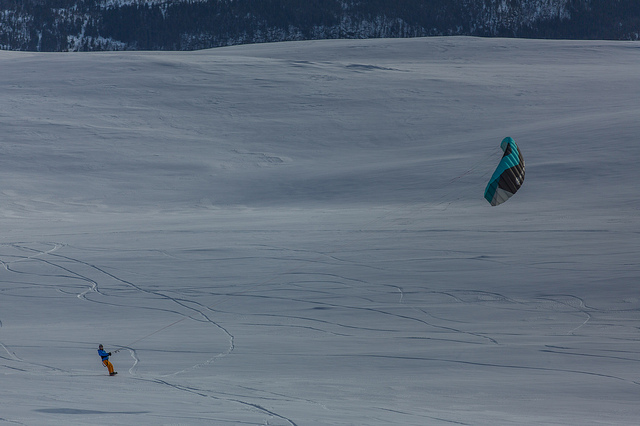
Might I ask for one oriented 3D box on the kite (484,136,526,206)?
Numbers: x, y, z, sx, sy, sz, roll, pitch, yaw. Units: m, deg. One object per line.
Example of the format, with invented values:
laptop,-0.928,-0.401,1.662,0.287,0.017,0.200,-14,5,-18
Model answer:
kite,9.487,-1.983,52.350,1.707,3.404,1.655,8,13,7
